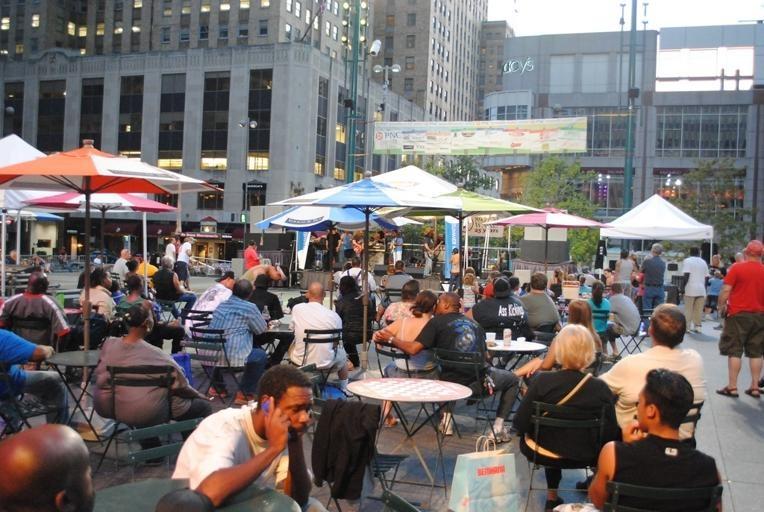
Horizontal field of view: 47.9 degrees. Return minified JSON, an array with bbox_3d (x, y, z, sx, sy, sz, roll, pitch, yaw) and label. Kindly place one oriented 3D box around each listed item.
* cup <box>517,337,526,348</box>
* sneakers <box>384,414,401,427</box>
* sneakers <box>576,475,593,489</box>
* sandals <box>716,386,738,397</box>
[{"bbox_3d":[2.867,1.760,17.730,0.137,0.153,0.164,0,-5,-3],"label":"cup"},{"bbox_3d":[0.174,3.244,16.949,0.233,0.161,0.243,-1,1,24],"label":"sneakers"},{"bbox_3d":[3.611,4.064,15.418,0.143,0.168,0.427,0,-1,18],"label":"sneakers"},{"bbox_3d":[7.563,2.964,18.872,0.193,0.153,0.379,4,1,-43],"label":"sandals"}]
